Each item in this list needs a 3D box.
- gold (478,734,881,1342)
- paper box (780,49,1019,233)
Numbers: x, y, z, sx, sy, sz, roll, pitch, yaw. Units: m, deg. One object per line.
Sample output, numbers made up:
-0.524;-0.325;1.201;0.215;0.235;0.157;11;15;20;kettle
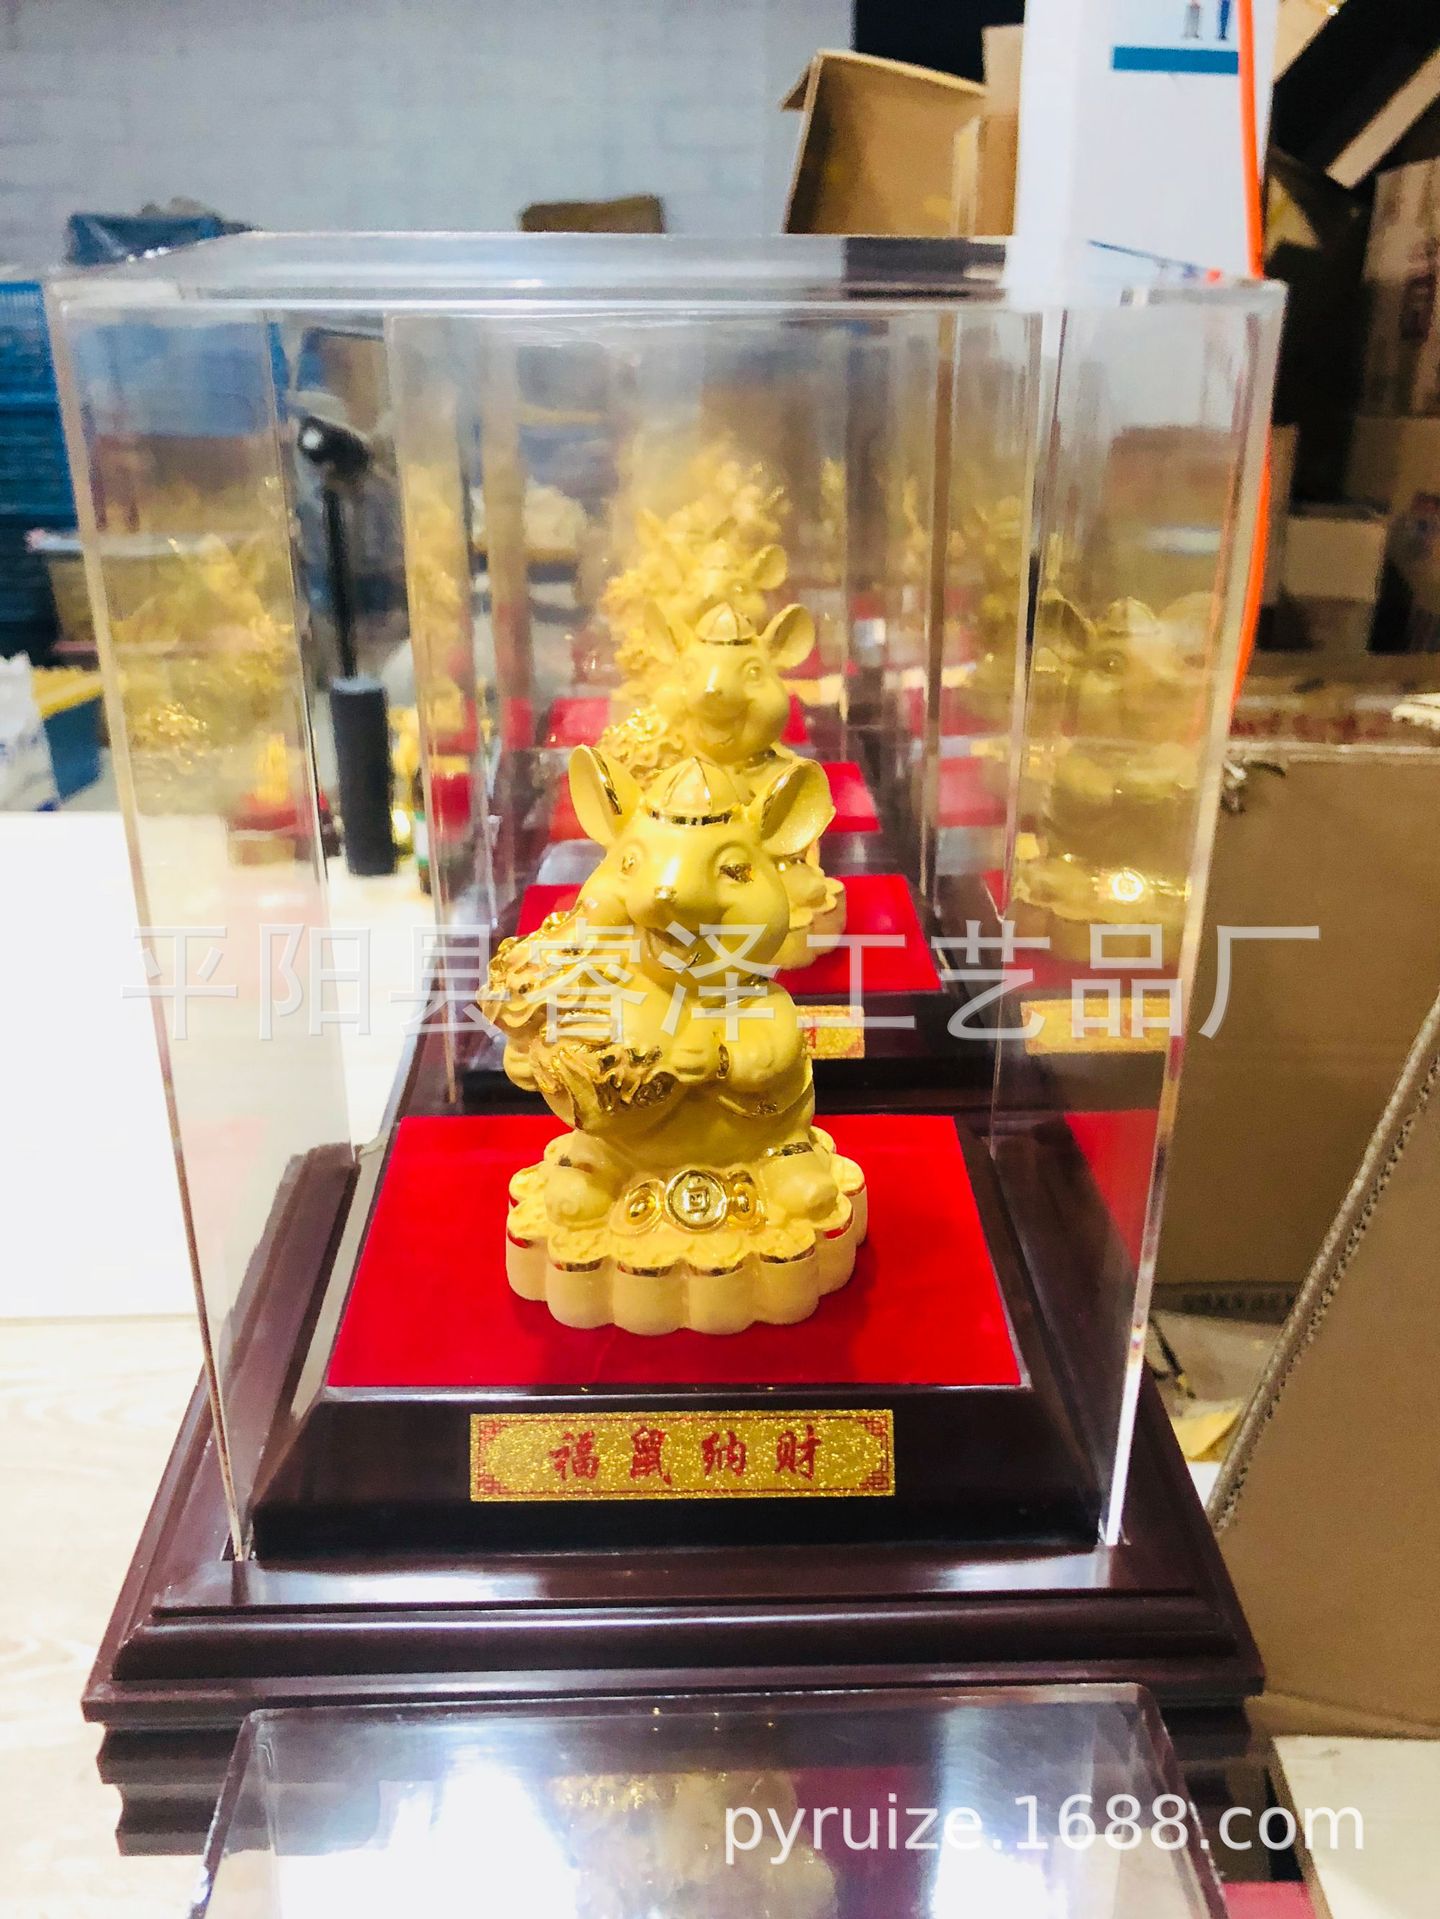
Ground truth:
-0.060;0.077;1.725;0.445;0.563;0.401;-16;29;-33;gold
0.250;-1.187;2.314;0.341;0.281;0.310;2;23;7;paper box
